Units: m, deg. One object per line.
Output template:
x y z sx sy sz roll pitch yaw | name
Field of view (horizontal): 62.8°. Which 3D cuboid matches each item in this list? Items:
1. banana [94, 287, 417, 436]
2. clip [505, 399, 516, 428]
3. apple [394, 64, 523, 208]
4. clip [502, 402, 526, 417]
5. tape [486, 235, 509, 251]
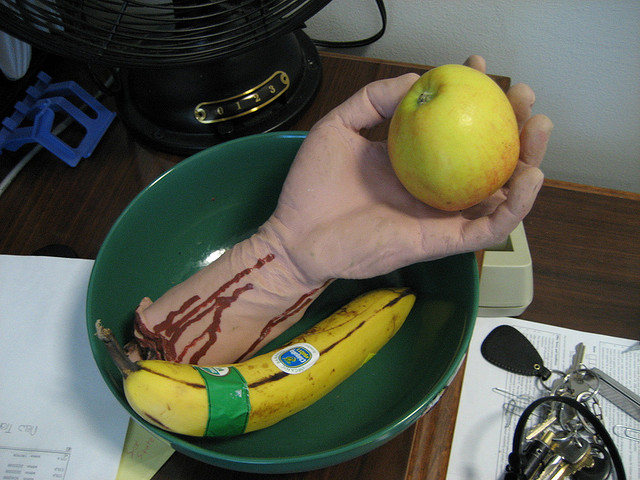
-0.064 0.143 0.670 0.098 0.414 0.210 30 125 48 | banana
0.287 0.262 0.796 0.011 0.008 0.043 22 82 5 | clip
0.166 -0.122 0.640 0.155 0.157 0.170 -4 48 13 | apple
0.294 0.257 0.796 0.024 0.006 0.013 26 102 22 | clip
0.277 0.007 0.819 0.020 0.028 0.024 -5 78 20 | tape
